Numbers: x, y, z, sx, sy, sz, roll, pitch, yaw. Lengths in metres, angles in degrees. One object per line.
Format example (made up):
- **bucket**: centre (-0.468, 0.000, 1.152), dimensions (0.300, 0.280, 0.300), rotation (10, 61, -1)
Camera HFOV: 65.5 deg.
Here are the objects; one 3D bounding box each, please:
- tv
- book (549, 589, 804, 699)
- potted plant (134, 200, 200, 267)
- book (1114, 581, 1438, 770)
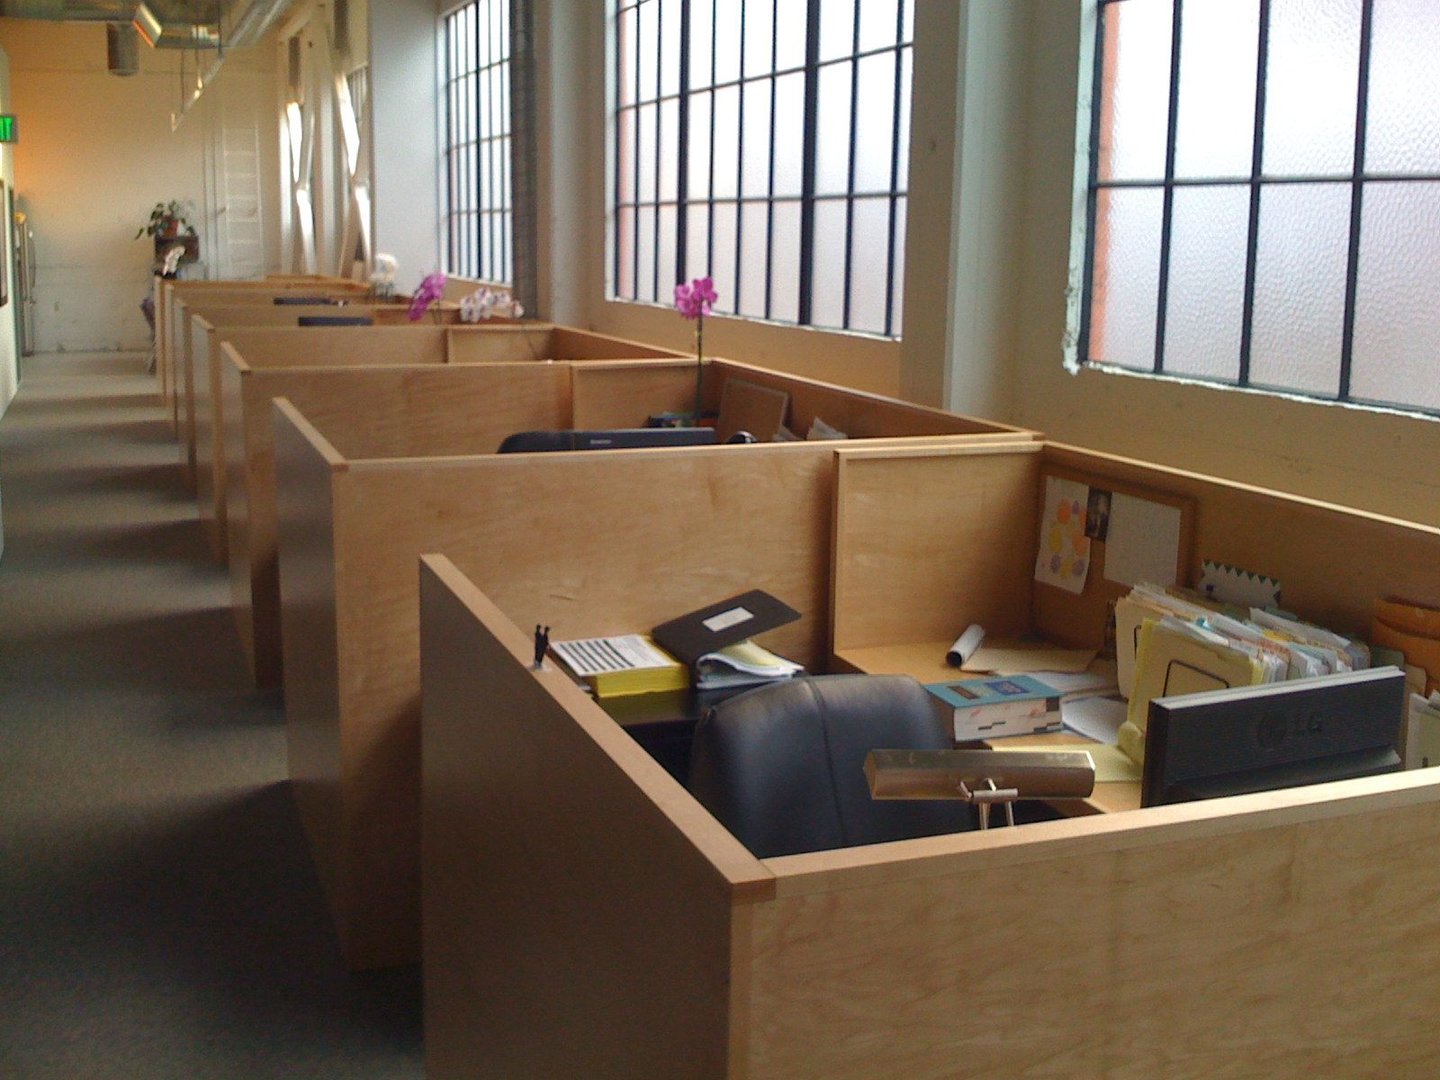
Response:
- **tv**: centre (0.742, 0.260, 1.505), dimensions (0.422, 0.162, 0.098), rotation (-1, 14, -24)
- **book**: centre (-0.095, 0.258, 2.696), dimensions (0.402, 0.128, 0.291), rotation (-2, 8, -20)
- **potted plant**: centre (-8.288, -4.691, 17.009), dimensions (0.887, 0.977, 1.145), rotation (-4, 15, -33)
- **book**: centre (1.029, 0.208, 2.340), dimensions (0.358, 0.187, 0.496), rotation (4, 7, 13)
